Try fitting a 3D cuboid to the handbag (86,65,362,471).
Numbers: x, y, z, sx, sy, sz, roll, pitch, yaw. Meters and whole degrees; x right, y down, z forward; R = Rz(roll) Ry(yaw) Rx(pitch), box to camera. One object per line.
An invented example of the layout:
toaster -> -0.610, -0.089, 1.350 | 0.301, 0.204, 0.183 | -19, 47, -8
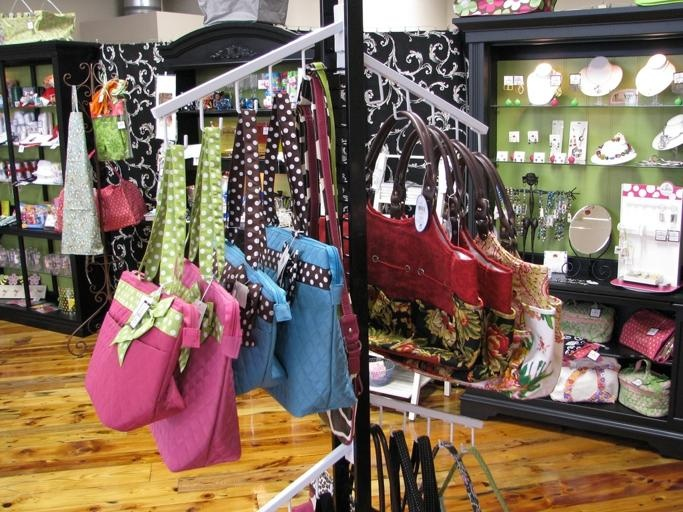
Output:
handbag -> -0.367, 0.099, 1.139 | 0.430, 0.749, 0.249 | 4, 9, 22
